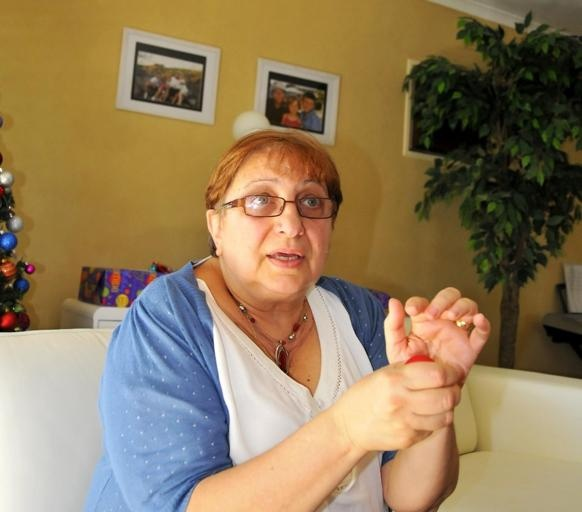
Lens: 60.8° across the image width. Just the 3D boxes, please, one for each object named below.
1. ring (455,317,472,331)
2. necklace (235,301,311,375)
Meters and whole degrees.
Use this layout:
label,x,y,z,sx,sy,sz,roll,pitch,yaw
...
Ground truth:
label,x,y,z,sx,sy,sz,roll,pitch,yaw
ring,0.332,0.136,0.954,0.018,0.031,0.013,-2,13,-2
necklace,-0.043,0.178,1.069,0.115,0.148,0.019,-6,5,-12
